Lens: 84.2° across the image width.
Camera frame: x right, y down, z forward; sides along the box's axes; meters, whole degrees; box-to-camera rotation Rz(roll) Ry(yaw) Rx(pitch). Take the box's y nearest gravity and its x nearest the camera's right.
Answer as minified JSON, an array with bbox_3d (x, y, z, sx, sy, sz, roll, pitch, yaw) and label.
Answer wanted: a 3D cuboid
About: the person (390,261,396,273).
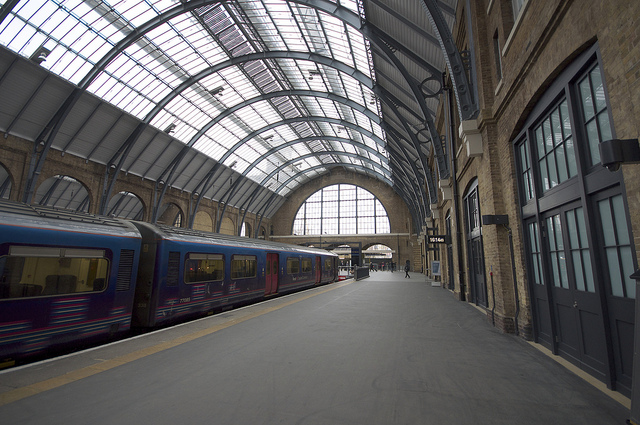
[{"bbox_3d":[11.035,8.108,52.903,1.002,2.014,1.044,-6,-10,37],"label":"person"}]
